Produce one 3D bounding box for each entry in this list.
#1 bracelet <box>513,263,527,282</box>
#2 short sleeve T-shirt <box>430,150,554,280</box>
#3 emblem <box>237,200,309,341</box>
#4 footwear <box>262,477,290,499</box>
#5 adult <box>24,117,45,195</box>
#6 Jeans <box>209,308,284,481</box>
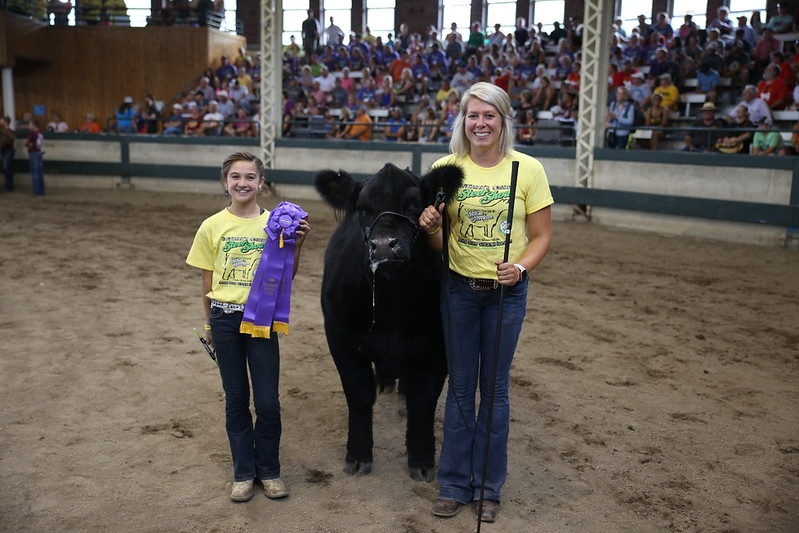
[{"bbox_3d":[1.101,0.045,7.521,0.061,0.136,0.118,-2,7,-21],"label":"bracelet"},{"bbox_3d":[0.807,-0.502,7.795,1.169,1.202,0.612,4,13,15],"label":"short sleeve T-shirt"},{"bbox_3d":[-1.189,0.040,7.778,0.459,1.260,0.512,6,14,17],"label":"emblem"},{"bbox_3d":[-1.209,2.130,7.935,0.134,0.125,0.286,0,-3,-33],"label":"footwear"},{"bbox_3d":[-8.369,-2.486,19.010,0.303,1.569,1.345,-4,15,-24],"label":"adult"},{"bbox_3d":[-1.468,1.235,7.887,0.681,1.681,0.374,3,13,3],"label":"Jeans"}]
